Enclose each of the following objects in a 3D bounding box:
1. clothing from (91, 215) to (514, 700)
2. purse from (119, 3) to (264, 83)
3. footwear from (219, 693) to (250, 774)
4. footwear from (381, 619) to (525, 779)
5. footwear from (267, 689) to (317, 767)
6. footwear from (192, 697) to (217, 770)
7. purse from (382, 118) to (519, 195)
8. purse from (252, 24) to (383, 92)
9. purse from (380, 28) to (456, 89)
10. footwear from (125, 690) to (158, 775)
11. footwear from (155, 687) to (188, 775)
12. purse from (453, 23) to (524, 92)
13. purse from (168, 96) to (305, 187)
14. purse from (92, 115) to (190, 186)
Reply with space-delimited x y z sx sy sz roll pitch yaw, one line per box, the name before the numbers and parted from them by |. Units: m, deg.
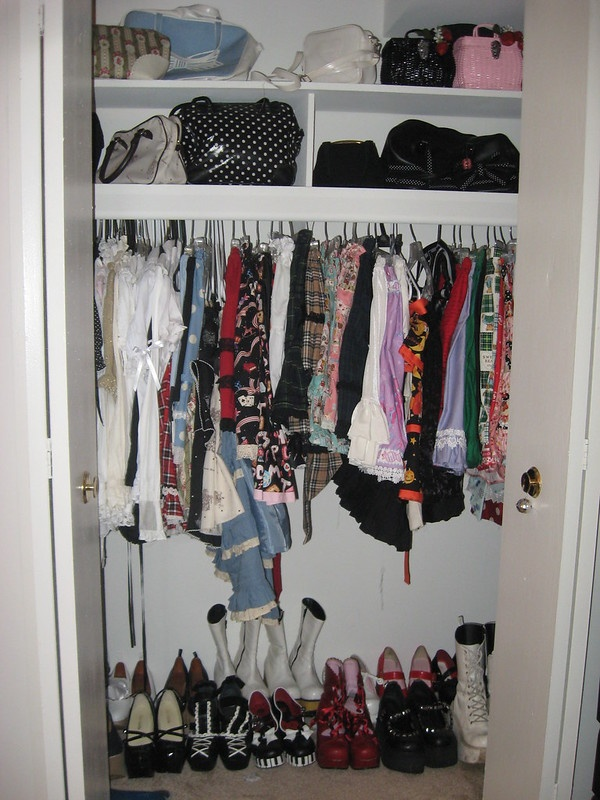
clothing | -0.026 0.122 1.786 1.055 1.490 0.144 -1 2 -7
purse | -0.259 -0.869 1.719 0.231 0.215 0.102 0 38 -6
footwear | -0.177 0.875 1.831 0.049 0.080 0.175 0 2 -6
footwear | 0.357 0.765 2.001 0.275 0.158 0.410 -1 3 -3
footwear | -0.014 0.896 1.930 0.078 0.116 0.290 -10 -5 -15
footwear | -0.256 0.861 1.872 0.067 0.101 0.239 1 8 -5
purse | 0.364 -0.574 1.797 0.239 0.242 0.100 3 -23 4
purse | 0.058 -0.827 1.734 0.246 0.130 0.212 -32 48 -28
purse | 0.305 -0.854 1.788 0.145 0.165 0.081 -2 9 -7
footwear | -0.413 0.850 1.825 0.073 0.077 0.244 -3 19 -11
footwear | -0.337 0.862 1.847 0.069 0.074 0.241 7 20 -12
purse | 0.479 -0.849 1.792 0.154 0.195 0.116 2 -7 1
purse | -0.145 -0.601 1.628 0.233 0.233 0.090 -1 2 -1
purse | -0.400 -0.567 1.703 0.205 0.180 0.111 5 -7 31
